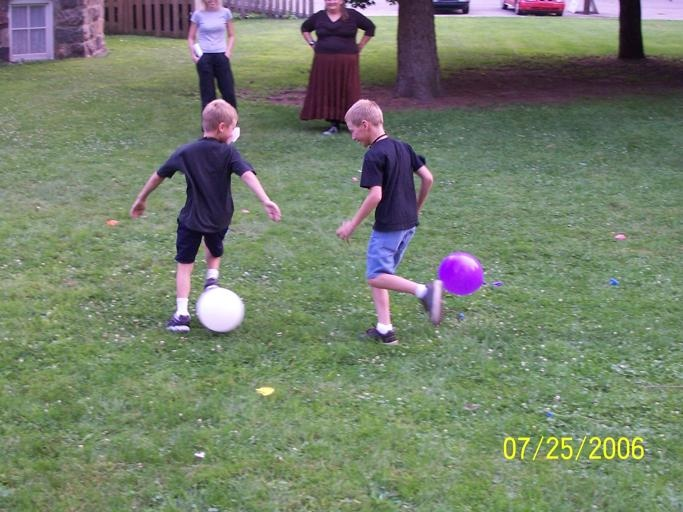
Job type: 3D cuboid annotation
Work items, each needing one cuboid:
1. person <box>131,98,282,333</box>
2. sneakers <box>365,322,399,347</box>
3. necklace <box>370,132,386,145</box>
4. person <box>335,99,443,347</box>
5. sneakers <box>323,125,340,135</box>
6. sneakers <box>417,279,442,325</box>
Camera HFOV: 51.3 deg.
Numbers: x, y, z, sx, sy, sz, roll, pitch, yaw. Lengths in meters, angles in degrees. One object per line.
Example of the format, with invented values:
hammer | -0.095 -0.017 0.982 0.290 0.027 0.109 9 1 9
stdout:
person | -0.955 -0.288 5.353 1.160 1.729 0.498 3 15 17
sneakers | 0.312 0.606 5.480 0.287 0.105 0.112 15 21 39
necklace | 0.268 -0.841 5.115 0.108 0.037 0.094 -26 -9 22
person | 0.372 -0.106 5.280 0.804 1.574 0.563 -2 14 -4
sneakers | -0.130 -1.858 10.553 0.107 0.100 0.294 11 16 29
sneakers | 0.700 0.336 5.318 0.188 0.348 0.133 -10 9 18
